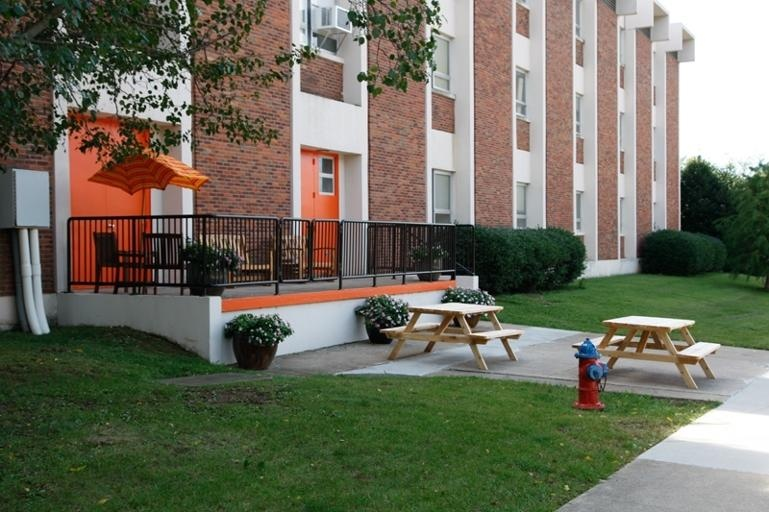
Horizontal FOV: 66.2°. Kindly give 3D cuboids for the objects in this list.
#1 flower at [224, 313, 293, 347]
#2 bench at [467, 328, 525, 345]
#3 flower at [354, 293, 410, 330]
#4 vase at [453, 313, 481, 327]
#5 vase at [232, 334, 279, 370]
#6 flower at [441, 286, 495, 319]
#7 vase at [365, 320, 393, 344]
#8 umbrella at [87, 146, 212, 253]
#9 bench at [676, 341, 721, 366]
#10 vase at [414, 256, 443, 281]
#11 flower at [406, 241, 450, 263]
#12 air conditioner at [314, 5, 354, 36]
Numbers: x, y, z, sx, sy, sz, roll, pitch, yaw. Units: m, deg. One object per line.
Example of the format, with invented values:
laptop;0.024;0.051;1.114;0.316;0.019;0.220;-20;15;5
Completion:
flower;-2.238;1.351;11.253;0.942;0.482;1.111;-2;-13;19
bench;2.218;1.590;11.596;0.503;0.251;1.309;7;6;41
flower;-0.011;1.317;13.933;0.877;0.527;0.862;-1;1;6
vase;1.969;1.515;14.034;0.376;0.436;0.711;-3;-4;37
vase;-2.389;1.776;10.825;0.654;0.461;0.671;-2;-7;36
flower;2.385;1.195;16.501;0.968;0.529;0.984;2;2;-25
vase;-0.196;1.773;13.863;0.515;0.416;0.529;3;-4;-24
umbrella;-5.105;-1.172;12.415;2.446;1.678;2.552;1;-3;-9
bench;5.641;1.775;10.562;0.421;0.313;1.507;7;5;39
vase;1.228;0.359;16.626;0.671;0.495;0.664;-2;-5;19
flower;1.223;-0.118;16.231;0.491;0.402;0.857;0;-1;39
air conditioner;-1.550;-7.161;17.868;1.090;0.874;1.113;5;5;16
